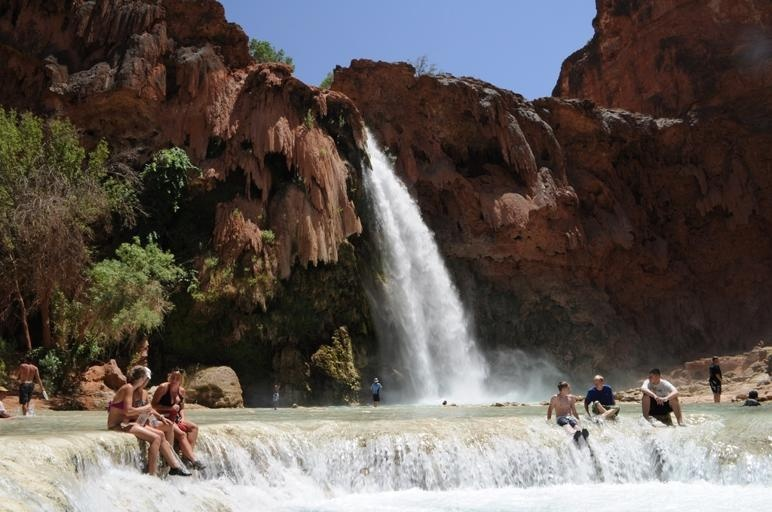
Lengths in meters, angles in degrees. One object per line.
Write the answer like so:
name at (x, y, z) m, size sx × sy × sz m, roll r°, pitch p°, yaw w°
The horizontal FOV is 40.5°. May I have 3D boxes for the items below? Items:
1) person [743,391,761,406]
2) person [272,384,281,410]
person at (16.304, 6.339, 46.341) m, size 0.713 × 0.779 × 0.643 m, roll 0°, pitch -4°, yaw -39°
person at (-5.216, 6.797, 50.064) m, size 0.358 × 1.042 × 0.902 m, roll -3°, pitch -2°, yaw -20°
